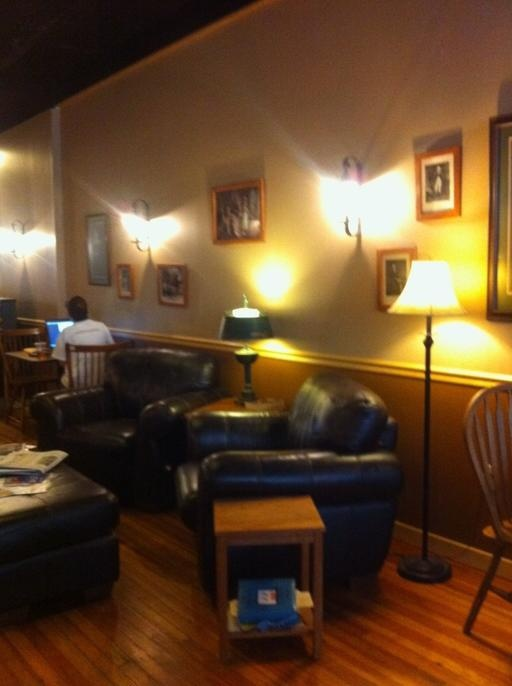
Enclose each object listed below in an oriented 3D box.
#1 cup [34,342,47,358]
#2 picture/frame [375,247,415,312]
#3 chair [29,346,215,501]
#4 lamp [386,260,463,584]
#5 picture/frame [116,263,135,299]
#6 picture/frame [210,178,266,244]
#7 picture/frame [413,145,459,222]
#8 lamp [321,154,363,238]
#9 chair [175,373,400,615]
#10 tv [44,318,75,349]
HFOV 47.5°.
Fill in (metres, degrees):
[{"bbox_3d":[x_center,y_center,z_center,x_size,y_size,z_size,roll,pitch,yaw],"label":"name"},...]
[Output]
[{"bbox_3d":[-1.978,0.067,5.358,0.100,0.136,0.110,12,15,36],"label":"cup"},{"bbox_3d":[0.689,-0.320,2.863,0.200,0.289,0.021,4,10,43],"label":"picture/frame"},{"bbox_3d":[-0.783,0.486,3.704,1.146,1.005,0.892,5,5,41],"label":"chair"},{"bbox_3d":[0.737,0.338,2.589,0.283,1.400,0.411,0,5,14],"label":"lamp"},{"bbox_3d":[-1.123,-0.541,5.042,0.045,0.376,0.296,-5,6,-40],"label":"picture/frame"},{"bbox_3d":[-0.104,-0.860,3.763,0.033,0.349,0.446,-6,9,-36],"label":"picture/frame"},{"bbox_3d":[0.811,-0.711,2.612,0.057,0.295,0.224,-4,5,-28],"label":"picture/frame"},{"bbox_3d":[0.463,-0.763,3.087,0.066,0.430,0.267,-4,6,-30],"label":"lamp"},{"bbox_3d":[0.106,0.504,2.625,0.888,0.833,0.991,0,4,-5],"label":"chair"},{"bbox_3d":[-1.661,-0.083,4.962,0.245,0.359,0.195,-3,9,-32],"label":"tv"}]
